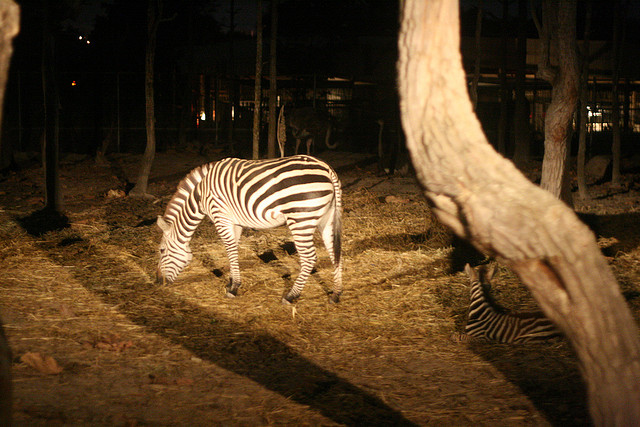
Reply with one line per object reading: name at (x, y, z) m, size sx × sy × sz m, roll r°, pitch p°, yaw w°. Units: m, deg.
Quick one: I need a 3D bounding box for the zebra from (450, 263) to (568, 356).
zebra at (2.216, 1.357, 7.484) m, size 1.502 × 0.961 × 0.387 m, roll 15°, pitch 19°, yaw -8°

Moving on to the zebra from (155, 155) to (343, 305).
zebra at (-1.077, 0.298, 8.916) m, size 3.045 × 2.053 × 0.858 m, roll -2°, pitch 3°, yaw 19°
